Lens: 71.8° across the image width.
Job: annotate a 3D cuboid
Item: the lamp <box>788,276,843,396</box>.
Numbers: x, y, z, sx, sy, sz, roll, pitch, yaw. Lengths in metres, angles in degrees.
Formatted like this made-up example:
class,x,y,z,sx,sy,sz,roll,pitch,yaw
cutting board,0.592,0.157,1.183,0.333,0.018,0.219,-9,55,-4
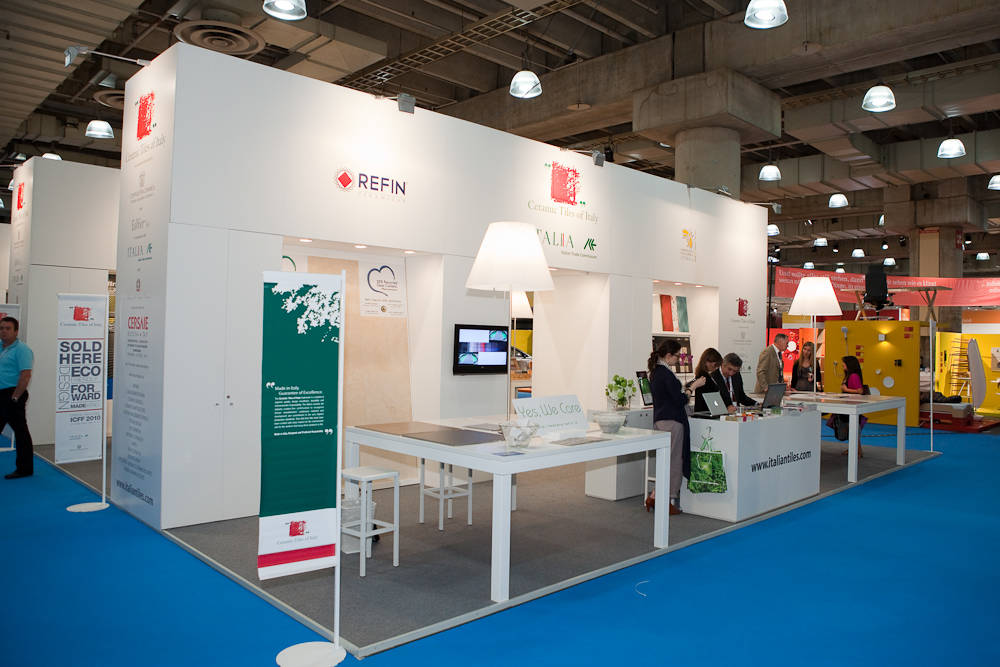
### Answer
class,x,y,z,sx,sy,sz,roll,pitch,yaw
lamp,4.713,-0.055,10.354,0.661,1.719,3.296,5,9,24

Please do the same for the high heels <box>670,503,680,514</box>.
class,x,y,z,sx,sy,sz,roll,pitch,yaw
high heels,1.952,1.955,7.718,0.064,0.127,0.189,3,-14,-28

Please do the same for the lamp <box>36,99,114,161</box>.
class,x,y,z,sx,sy,sz,roll,pitch,yaw
lamp,-9.009,-4.353,14.806,1.536,0.900,2.808,-3,10,-30

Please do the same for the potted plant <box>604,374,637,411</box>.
class,x,y,z,sx,sy,sz,roll,pitch,yaw
potted plant,1.278,0.617,7.331,0.227,0.355,0.342,5,9,21

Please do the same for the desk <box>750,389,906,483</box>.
class,x,y,z,sx,sy,sz,roll,pitch,yaw
desk,4.909,1.114,9.885,1.663,0.916,1.579,-4,4,-41

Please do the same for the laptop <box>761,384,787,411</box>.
class,x,y,z,sx,sy,sz,roll,pitch,yaw
laptop,3.244,0.745,8.142,0.390,0.274,0.281,2,18,-44

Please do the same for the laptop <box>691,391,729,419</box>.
class,x,y,z,sx,sy,sz,roll,pitch,yaw
laptop,2.419,0.789,7.902,0.274,0.233,0.327,3,-2,44

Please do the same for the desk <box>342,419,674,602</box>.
class,x,y,z,sx,sy,sz,roll,pitch,yaw
desk,-0.160,1.237,6.628,1.780,0.928,2.001,0,3,-43

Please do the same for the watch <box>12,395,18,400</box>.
class,x,y,z,sx,sy,sz,roll,pitch,yaw
watch,-5.830,0.756,8.301,0.055,0.071,0.025,3,19,-1
